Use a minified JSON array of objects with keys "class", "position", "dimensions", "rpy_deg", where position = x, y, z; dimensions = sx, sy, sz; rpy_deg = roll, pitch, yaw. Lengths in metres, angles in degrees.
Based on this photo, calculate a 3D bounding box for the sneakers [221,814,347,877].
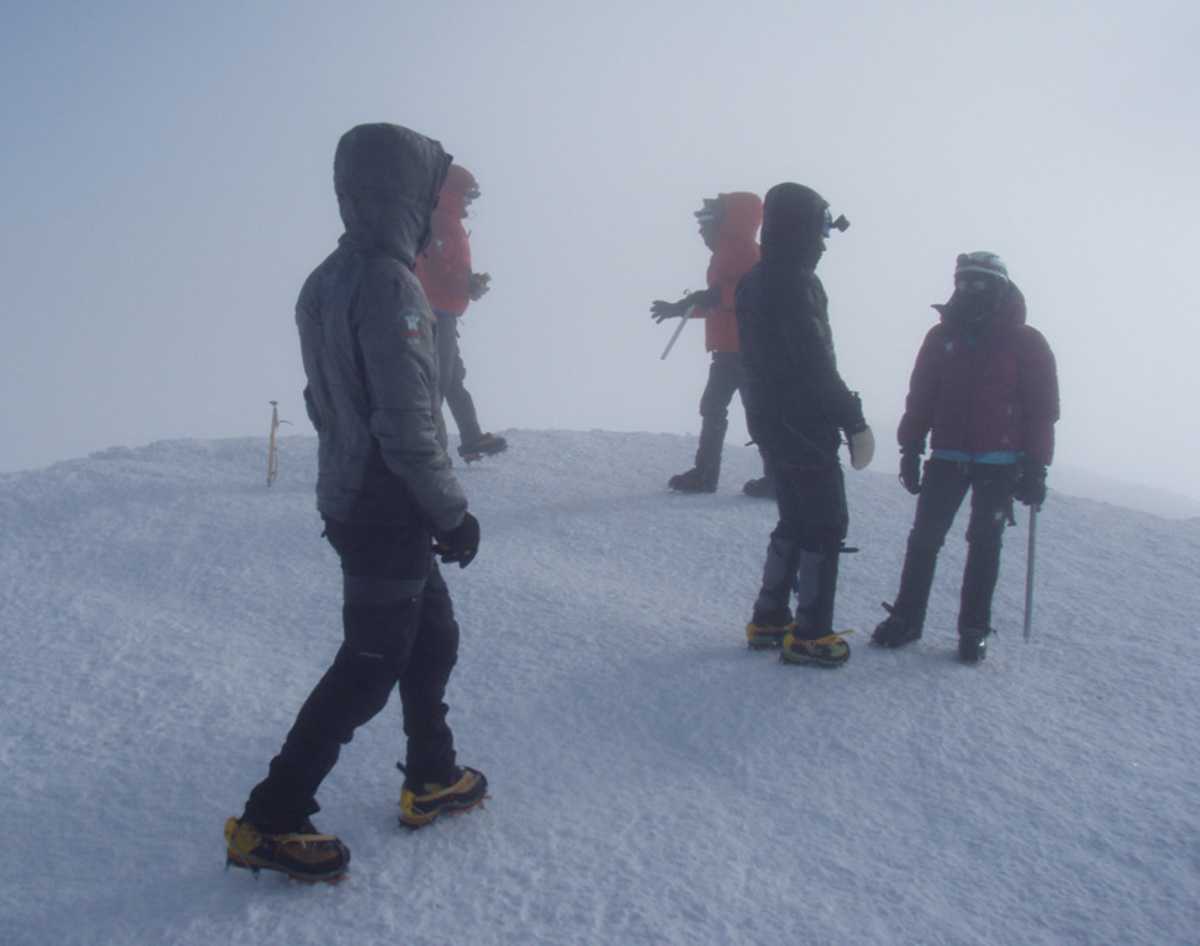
[{"class":"sneakers","position":[-1.078,1.310,3.830],"dimensions":[0.437,0.227,0.185],"rpy_deg":[6,6,-13]}]

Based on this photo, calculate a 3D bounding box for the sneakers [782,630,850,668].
[{"class":"sneakers","position":[1.067,0.868,5.428],"dimensions":[0.317,0.181,0.151],"rpy_deg":[0,6,2]}]

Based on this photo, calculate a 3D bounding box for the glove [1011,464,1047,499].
[{"class":"glove","position":[2.116,0.029,5.383],"dimensions":[0.151,0.230,0.119],"rpy_deg":[-1,3,-13]}]

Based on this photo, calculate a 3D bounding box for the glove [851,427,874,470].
[{"class":"glove","position":[1.253,-0.112,5.253],"dimensions":[0.104,0.245,0.257],"rpy_deg":[2,15,10]}]

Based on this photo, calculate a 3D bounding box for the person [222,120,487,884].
[{"class":"person","position":[-0.931,0.082,3.906],"dimensions":[0.986,2.569,0.732],"rpy_deg":[-5,15,-20]}]

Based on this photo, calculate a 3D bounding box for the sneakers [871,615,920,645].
[{"class":"sneakers","position":[1.550,0.829,5.769],"dimensions":[0.228,0.169,0.129],"rpy_deg":[1,4,-3]}]

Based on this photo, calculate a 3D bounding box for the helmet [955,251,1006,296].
[{"class":"helmet","position":[1.888,-0.987,5.394],"dimensions":[0.247,0.215,0.240],"rpy_deg":[5,16,20]}]

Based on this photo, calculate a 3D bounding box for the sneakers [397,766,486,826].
[{"class":"sneakers","position":[-0.588,1.215,4.198],"dimensions":[0.338,0.171,0.156],"rpy_deg":[-22,30,-35]}]

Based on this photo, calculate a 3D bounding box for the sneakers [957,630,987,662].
[{"class":"sneakers","position":[1.891,0.864,5.517],"dimensions":[0.147,0.146,0.155],"rpy_deg":[2,15,7]}]

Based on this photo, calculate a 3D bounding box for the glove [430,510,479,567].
[{"class":"glove","position":[-0.509,0.223,3.854],"dimensions":[0.144,0.222,0.214],"rpy_deg":[-4,15,-15]}]

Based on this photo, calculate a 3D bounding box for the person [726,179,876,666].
[{"class":"person","position":[1.010,-0.207,5.343],"dimensions":[0.599,2.335,0.726],"rpy_deg":[-2,14,-5]}]

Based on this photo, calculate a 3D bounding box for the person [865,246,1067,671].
[{"class":"person","position":[1.860,-0.091,5.523],"dimensions":[0.789,2.013,0.550],"rpy_deg":[6,15,23]}]
